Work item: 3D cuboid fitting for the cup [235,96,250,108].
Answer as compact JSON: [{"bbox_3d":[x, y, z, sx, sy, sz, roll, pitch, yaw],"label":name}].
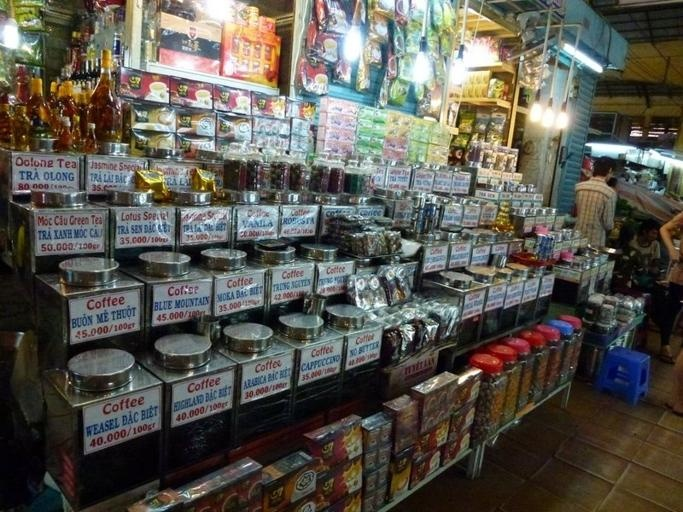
[{"bbox_3d":[-0.704,-1.112,3.750,0.094,0.066,0.089,3,52,-4],"label":"cup"}]
